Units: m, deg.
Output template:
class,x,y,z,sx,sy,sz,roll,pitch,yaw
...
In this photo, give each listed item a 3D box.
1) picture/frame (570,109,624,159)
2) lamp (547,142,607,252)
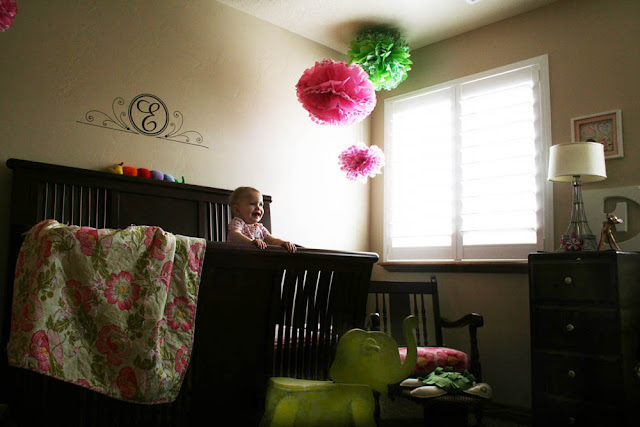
class,x,y,z,sx,sy,sz,roll,pitch,yaw
picture/frame,2.247,-0.615,3.793,0.340,0.420,0.043,-5,-22,36
lamp,1.966,-0.150,3.547,0.359,0.857,0.461,-3,-5,44
